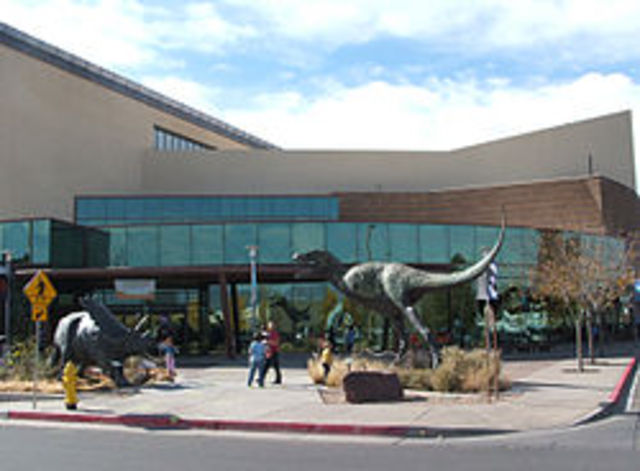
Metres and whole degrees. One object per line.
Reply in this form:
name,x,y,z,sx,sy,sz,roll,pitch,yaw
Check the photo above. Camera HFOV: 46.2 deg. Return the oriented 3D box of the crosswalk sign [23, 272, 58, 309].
crosswalk sign,-8.499,1.608,22.801,0.829,1.153,1.057,1,-6,-23
